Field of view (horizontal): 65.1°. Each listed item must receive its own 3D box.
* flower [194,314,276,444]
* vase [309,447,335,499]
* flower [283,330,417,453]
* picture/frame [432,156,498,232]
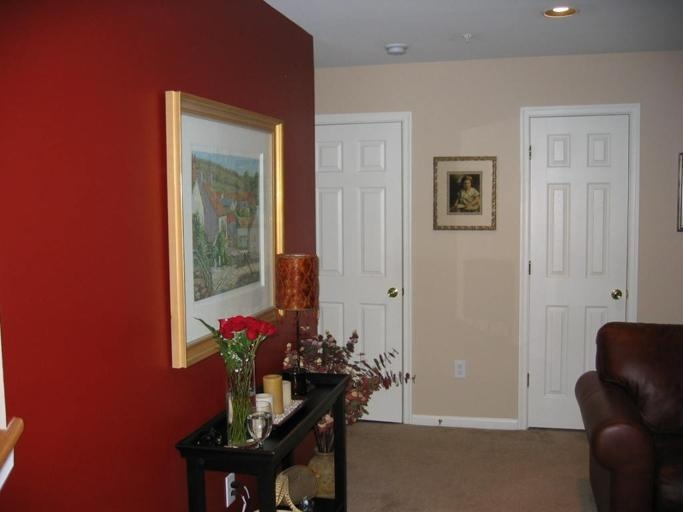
[{"bbox_3d":[-0.423,0.446,2.339,0.375,0.609,0.458,-1,5,-12],"label":"flower"},{"bbox_3d":[-0.113,1.230,2.956,0.139,0.304,0.280,-1,8,-4],"label":"vase"},{"bbox_3d":[0.080,0.654,3.225,0.808,0.602,0.958,3,0,-9],"label":"flower"},{"bbox_3d":[0.989,-0.514,4.205,0.524,0.676,0.051,0,0,5],"label":"picture/frame"}]
